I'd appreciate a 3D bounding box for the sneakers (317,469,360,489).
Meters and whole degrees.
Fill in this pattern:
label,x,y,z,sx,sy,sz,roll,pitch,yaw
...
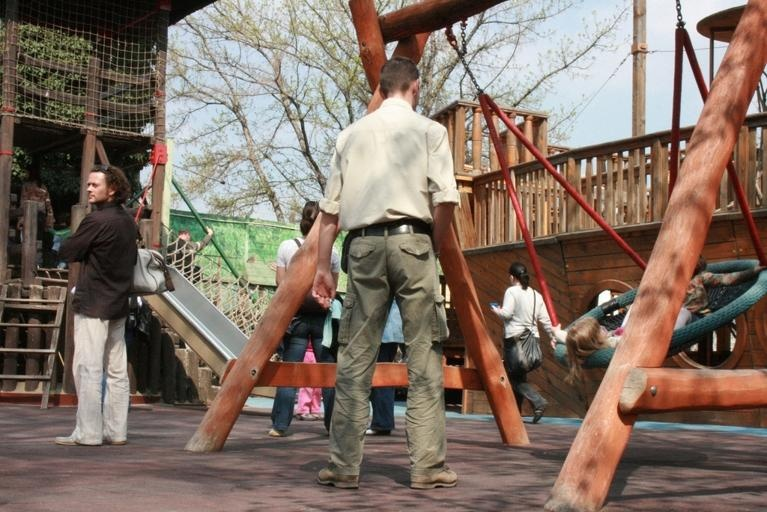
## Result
label,x,y,z,sx,sy,sz,roll,pitch,yaw
sneakers,-0.301,1.555,5.516,0.241,0.110,0.114,8,3,41

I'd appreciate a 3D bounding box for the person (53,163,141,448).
label,x,y,z,sx,sy,sz,roll,pitch,yaw
person,-2.528,0.422,7.105,0.683,2.519,0.384,3,-5,-30

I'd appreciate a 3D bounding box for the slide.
label,x,y,z,sx,sy,sz,roll,pitch,yaw
slide,-2.937,1.051,12.328,0.494,2.787,0.231,-34,-35,-18

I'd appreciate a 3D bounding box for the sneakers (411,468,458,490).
label,x,y,z,sx,sy,sz,roll,pitch,yaw
sneakers,0.361,1.559,5.604,0.332,0.137,0.127,-2,3,-28

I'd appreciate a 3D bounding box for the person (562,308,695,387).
label,x,y,z,sx,sy,sz,roll,pitch,yaw
person,2.131,0.580,7.252,1.079,0.375,0.961,-27,1,4

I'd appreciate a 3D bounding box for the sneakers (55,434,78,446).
label,x,y,z,sx,sy,sz,roll,pitch,yaw
sneakers,-2.775,1.612,6.976,0.160,0.062,0.095,4,-5,8
